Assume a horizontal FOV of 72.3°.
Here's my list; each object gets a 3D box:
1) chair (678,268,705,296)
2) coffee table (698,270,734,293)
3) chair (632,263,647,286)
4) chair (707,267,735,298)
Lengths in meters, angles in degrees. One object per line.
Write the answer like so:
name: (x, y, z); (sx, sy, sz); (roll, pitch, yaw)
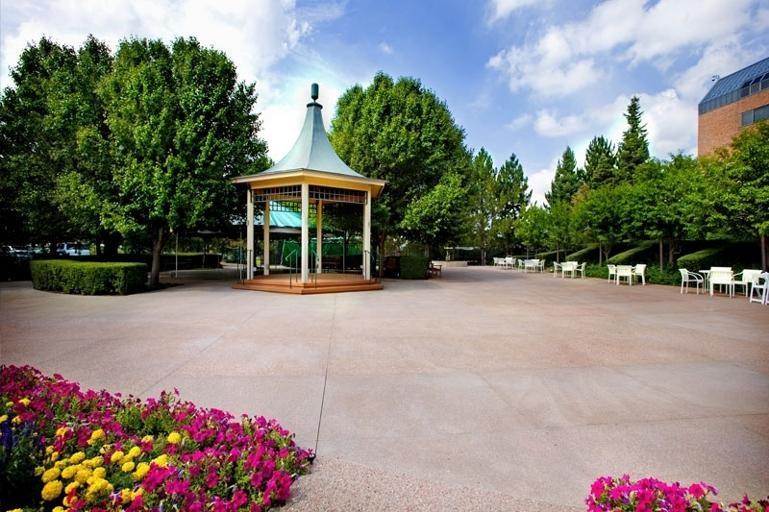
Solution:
chair: (14.414, 1.193, 24.668); (0.970, 1.191, 0.827); (0, -2, -39)
coffee table: (14.430, 1.075, 22.827); (0.791, 1.142, 0.774); (-4, -11, 38)
chair: (13.867, 1.036, 28.621); (0.857, 1.474, 0.971); (-4, -5, 42)
chair: (14.472, 1.083, 22.553); (0.863, 1.246, 3.292); (0, -2, 33)
